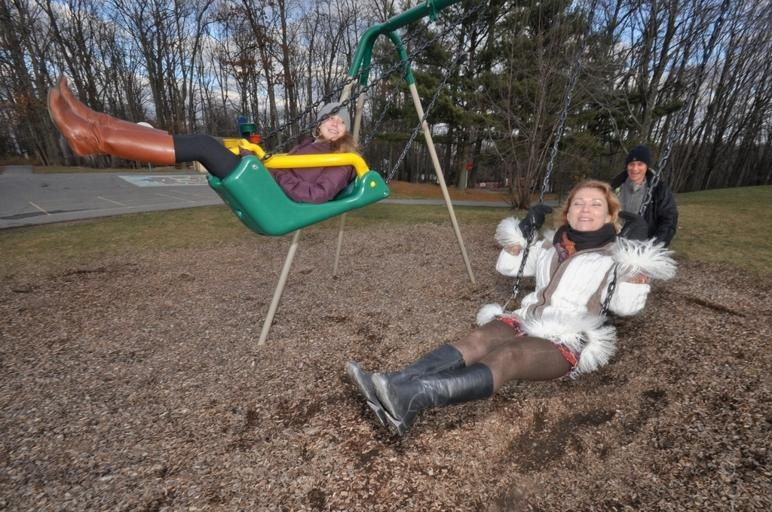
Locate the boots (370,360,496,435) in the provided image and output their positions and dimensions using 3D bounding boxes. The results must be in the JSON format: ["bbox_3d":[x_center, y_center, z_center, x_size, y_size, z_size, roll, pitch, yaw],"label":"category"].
[{"bbox_3d":[0.388,1.076,3.553,0.838,0.411,0.487,-8,64,-1],"label":"boots"}]

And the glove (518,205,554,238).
[{"bbox_3d":[1.579,-0.341,4.405,0.488,0.199,0.596,1,15,19],"label":"glove"}]

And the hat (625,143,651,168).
[{"bbox_3d":[3.007,-1.175,5.430,0.276,0.237,0.277,15,8,1],"label":"hat"}]

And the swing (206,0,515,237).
[{"bbox_3d":[-0.422,-0.803,4.503,1.561,1.797,1.182,9,5,-15],"label":"swing"}]

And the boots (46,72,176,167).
[{"bbox_3d":[-2.199,-1.077,3.697,0.950,0.663,0.351,6,24,16],"label":"boots"}]

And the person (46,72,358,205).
[{"bbox_3d":[-1.508,-0.836,4.301,3.017,0.984,1.018,1,32,-27],"label":"person"}]

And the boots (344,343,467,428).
[{"bbox_3d":[0.160,0.957,3.754,0.783,0.353,0.652,-31,76,-25],"label":"boots"}]
